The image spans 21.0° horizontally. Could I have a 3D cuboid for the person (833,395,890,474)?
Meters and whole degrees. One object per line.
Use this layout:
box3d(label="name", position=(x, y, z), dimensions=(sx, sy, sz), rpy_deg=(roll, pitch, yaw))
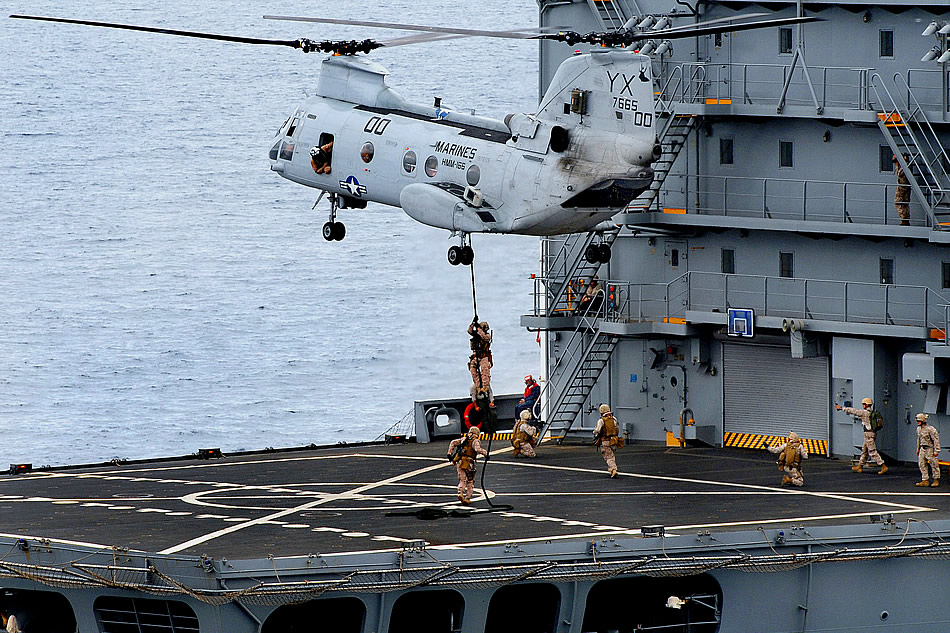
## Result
box3d(label="person", position=(13.007, 3.971, 85.514), dimensions=(1.597, 2.425, 1.199), rpy_deg=(5, -4, -7))

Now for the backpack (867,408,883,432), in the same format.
box3d(label="backpack", position=(13.393, 3.477, 85.097), dimensions=(0.333, 0.558, 0.537), rpy_deg=(1, 0, 20))

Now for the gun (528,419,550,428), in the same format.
box3d(label="gun", position=(2.276, 3.758, 89.973), dimensions=(0.575, 0.189, 0.691), rpy_deg=(2, 0, 21))

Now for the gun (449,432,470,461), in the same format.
box3d(label="gun", position=(-0.442, 4.094, 80.416), dimensions=(0.595, 0.842, 0.279), rpy_deg=(28, -4, 18))

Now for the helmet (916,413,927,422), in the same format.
box3d(label="helmet", position=(14.607, 3.286, 83.273), dimensions=(0.329, 0.186, 0.215), rpy_deg=(-10, 19, -6))

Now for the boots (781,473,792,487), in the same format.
box3d(label="boots", position=(10.229, 5.310, 83.193), dimensions=(0.293, 0.293, 0.137), rpy_deg=(7, 4, 29))

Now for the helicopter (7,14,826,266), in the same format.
box3d(label="helicopter", position=(0.282, -5.877, 84.977), dimensions=(13.129, 6.791, 7.528), rpy_deg=(1, 0, 27))
